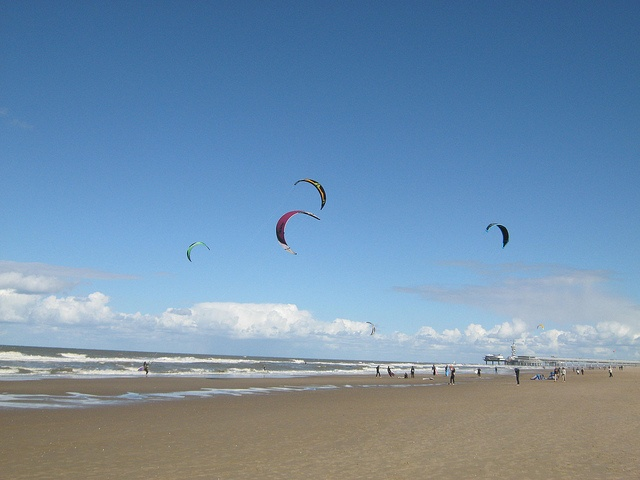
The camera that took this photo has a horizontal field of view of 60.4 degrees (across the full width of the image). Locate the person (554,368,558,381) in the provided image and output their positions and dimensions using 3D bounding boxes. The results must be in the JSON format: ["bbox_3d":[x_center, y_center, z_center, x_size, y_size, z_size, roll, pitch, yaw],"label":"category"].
[{"bbox_3d":[19.516,10.988,45.086,0.215,0.886,1.079,-5,-17,22],"label":"person"}]
